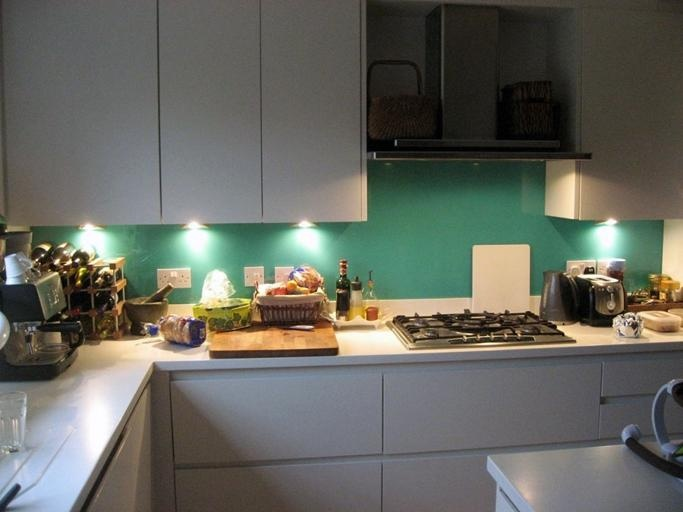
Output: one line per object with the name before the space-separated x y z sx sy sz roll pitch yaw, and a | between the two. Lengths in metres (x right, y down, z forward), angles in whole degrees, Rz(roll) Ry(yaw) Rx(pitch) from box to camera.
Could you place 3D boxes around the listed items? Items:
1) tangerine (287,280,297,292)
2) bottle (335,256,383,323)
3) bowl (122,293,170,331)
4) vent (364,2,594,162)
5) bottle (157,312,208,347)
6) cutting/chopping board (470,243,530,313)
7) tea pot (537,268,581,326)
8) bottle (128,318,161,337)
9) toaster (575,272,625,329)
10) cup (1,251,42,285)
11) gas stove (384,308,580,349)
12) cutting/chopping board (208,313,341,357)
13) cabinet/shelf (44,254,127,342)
tangerine | -0.255 0.149 2.858 0.049 0.050 0.041 10 -25 -39
bottle | 0.085 0.178 3.063 0.231 0.333 0.265 -3 4 6
bowl | -1.022 0.287 2.914 0.179 0.143 0.182 1 6 0
vent | 0.678 -0.754 3.074 1.333 0.946 0.774 -1 2 -6
bottle | -0.781 0.356 2.773 0.240 0.172 0.162 -1 7 37
cutting/chopping board | 0.892 0.111 3.214 0.385 0.519 0.050 0 2 0
tea pot | 1.166 0.214 3.011 0.176 0.265 0.271 -5 10 -21
bottle | -1.008 0.366 2.862 0.106 0.072 0.105 0 -4 0
toaster | 1.439 0.218 3.054 0.184 0.247 0.286 -3 11 20
cup | -1.289 0.052 2.297 0.158 0.114 0.098 2 -7 -17
gas stove | 0.695 0.367 2.897 0.846 0.127 0.495 -4 4 -8
cutting/chopping board | -0.327 0.411 2.758 0.602 0.099 0.404 -4 4 -2
cabinet/shelf | -1.218 0.205 2.890 0.326 0.458 0.368 1 9 -1
